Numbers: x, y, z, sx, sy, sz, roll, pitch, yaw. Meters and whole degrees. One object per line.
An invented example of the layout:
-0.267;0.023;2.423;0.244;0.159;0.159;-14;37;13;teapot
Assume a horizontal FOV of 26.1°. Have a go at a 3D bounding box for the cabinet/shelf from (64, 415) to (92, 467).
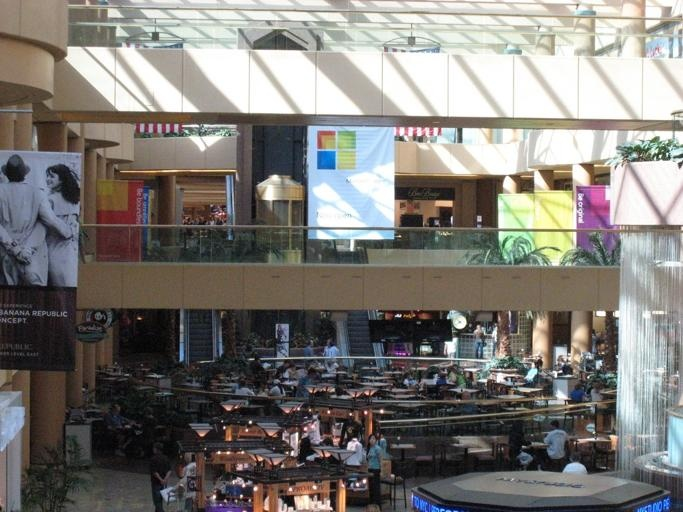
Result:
-5.880;4.200;32.822;0.892;1.010;0.509;1;4;-5;cabinet/shelf
